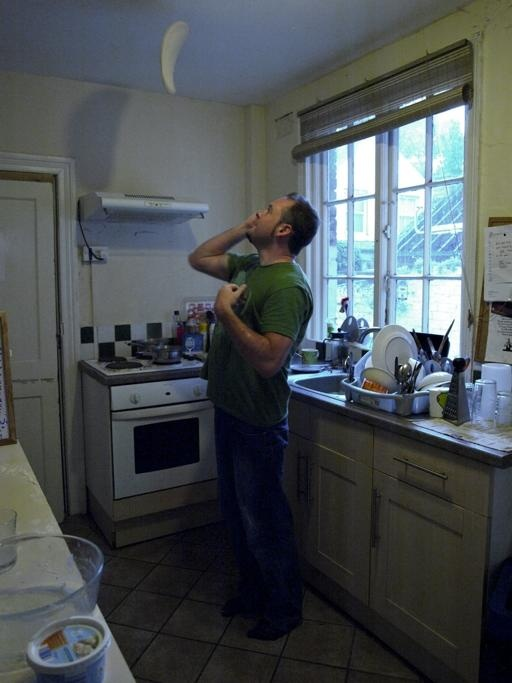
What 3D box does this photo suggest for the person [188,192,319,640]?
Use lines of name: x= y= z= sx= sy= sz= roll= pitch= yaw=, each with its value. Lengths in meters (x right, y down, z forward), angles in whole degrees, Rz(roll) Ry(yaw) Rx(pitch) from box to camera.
person: x=0.013 y=0.265 z=2.033 sx=0.411 sy=1.527 sz=0.637 roll=-2 pitch=5 yaw=-7

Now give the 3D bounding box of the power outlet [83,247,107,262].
power outlet: x=-0.853 y=-0.465 z=3.021 sx=0.122 sy=0.090 sz=0.068 roll=-3 pitch=10 yaw=-22

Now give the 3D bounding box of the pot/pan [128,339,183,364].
pot/pan: x=-0.536 y=0.053 z=3.021 sx=0.200 sy=0.073 sz=0.152 roll=4 pitch=8 yaw=32

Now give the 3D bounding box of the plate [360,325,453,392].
plate: x=0.510 y=0.053 z=2.044 sx=0.309 sy=0.209 sz=0.406 roll=-1 pitch=6 yaw=8

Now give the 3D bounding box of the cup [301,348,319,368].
cup: x=0.254 y=0.079 z=2.779 sx=0.083 sy=0.067 sz=0.056 roll=0 pitch=-1 yaw=-14

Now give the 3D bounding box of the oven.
oven: x=-0.506 y=0.431 z=2.960 sx=0.553 sy=0.756 sz=0.498 roll=-4 pitch=22 yaw=-17

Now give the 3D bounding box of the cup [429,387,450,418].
cup: x=0.582 y=0.196 z=1.835 sx=0.077 sy=0.094 sz=0.079 roll=3 pitch=1 yaw=0
